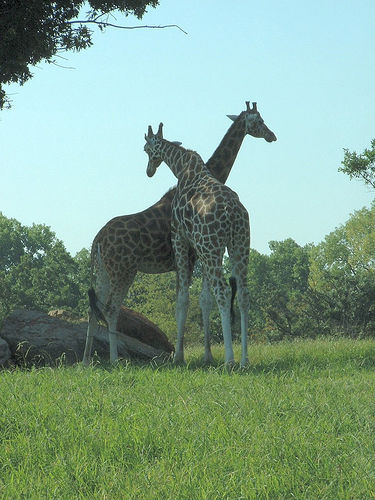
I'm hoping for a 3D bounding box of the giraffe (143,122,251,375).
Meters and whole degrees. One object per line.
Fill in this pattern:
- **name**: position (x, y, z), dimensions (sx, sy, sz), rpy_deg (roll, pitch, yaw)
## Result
- **giraffe**: position (0.230, -0.069, 10.052), dimensions (0.720, 2.906, 2.563), rpy_deg (0, -1, -15)
